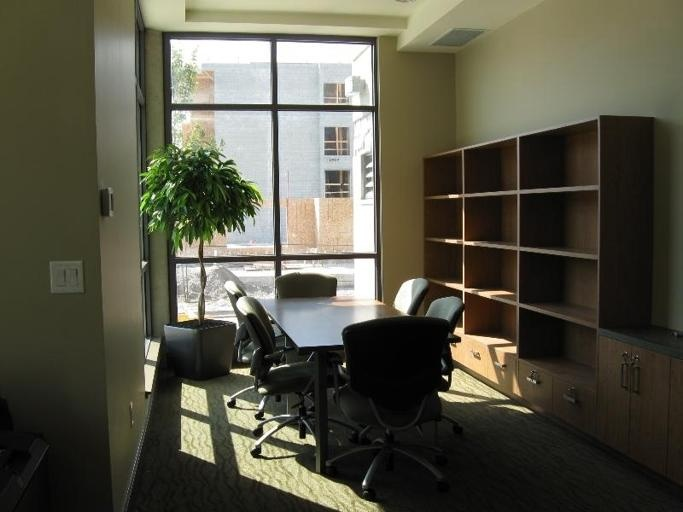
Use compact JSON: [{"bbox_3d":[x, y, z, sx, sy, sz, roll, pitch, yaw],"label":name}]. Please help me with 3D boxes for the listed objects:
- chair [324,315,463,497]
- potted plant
[{"bbox_3d":[0.333,0.912,3.591,0.802,1.274,0.817,-10,14,-38],"label":"chair"},{"bbox_3d":[-1.566,0.053,5.855,1.263,2.584,0.838,-1,6,-8],"label":"potted plant"}]
